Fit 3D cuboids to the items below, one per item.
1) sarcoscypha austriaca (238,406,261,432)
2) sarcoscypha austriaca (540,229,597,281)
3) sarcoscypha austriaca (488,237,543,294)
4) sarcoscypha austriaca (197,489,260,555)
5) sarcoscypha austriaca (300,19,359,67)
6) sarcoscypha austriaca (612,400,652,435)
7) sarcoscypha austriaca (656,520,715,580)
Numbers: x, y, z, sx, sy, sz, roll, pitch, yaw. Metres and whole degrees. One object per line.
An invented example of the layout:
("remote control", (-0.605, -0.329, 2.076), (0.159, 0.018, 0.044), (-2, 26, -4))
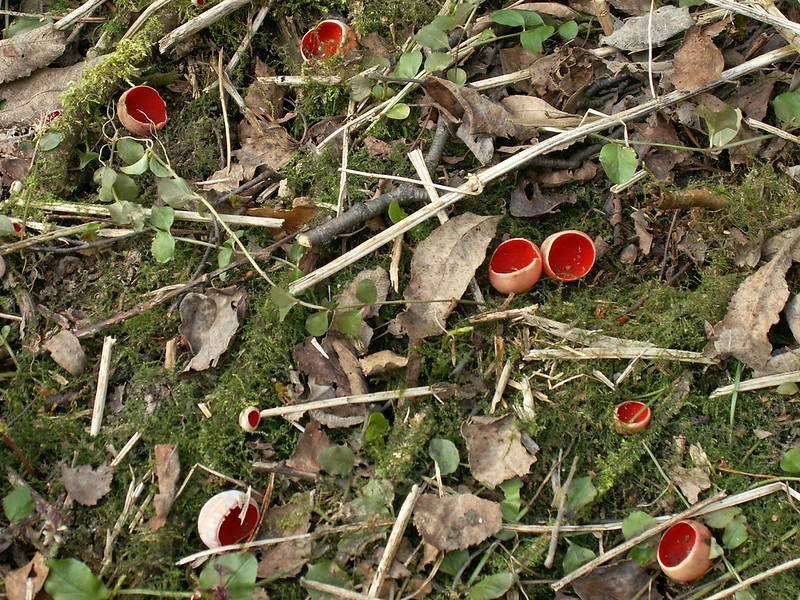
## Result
("sarcoscypha austriaca", (-0.632, 0.498, 2.787), (0.037, 0.093, 0.098), (3, 94, 30))
("sarcoscypha austriaca", (0.741, -0.185, 2.896), (0.233, 0.155, 0.211), (-6, 75, 8))
("sarcoscypha austriaca", (0.501, -0.147, 2.867), (0.223, 0.159, 0.243), (29, 82, 15))
("sarcoscypha austriaca", (-0.708, 0.898, 2.719), (0.219, 0.135, 0.211), (-15, 74, 5))
("sarcoscypha austriaca", (-0.345, -1.236, 3.201), (0.275, 0.112, 0.222), (-13, 74, 6))
("sarcoscypha austriaca", (0.970, 0.486, 2.740), (0.165, 0.066, 0.134), (-11, 74, 6))
("sarcoscypha austriaca", (1.117, 0.976, 2.587), (0.198, 0.129, 0.241), (-3, 74, 31))
